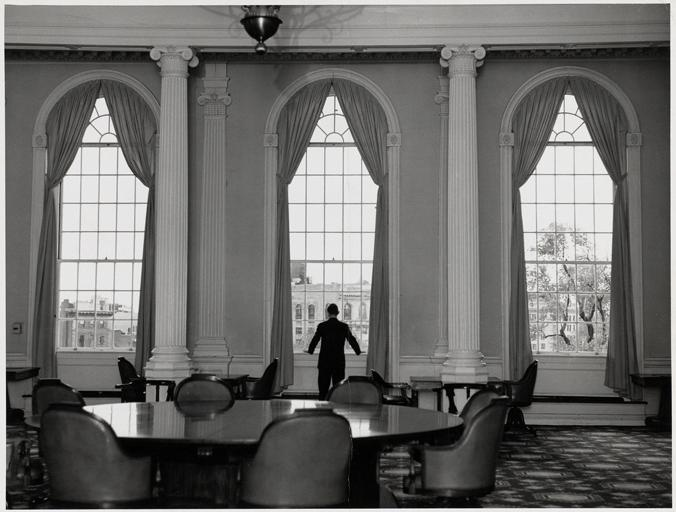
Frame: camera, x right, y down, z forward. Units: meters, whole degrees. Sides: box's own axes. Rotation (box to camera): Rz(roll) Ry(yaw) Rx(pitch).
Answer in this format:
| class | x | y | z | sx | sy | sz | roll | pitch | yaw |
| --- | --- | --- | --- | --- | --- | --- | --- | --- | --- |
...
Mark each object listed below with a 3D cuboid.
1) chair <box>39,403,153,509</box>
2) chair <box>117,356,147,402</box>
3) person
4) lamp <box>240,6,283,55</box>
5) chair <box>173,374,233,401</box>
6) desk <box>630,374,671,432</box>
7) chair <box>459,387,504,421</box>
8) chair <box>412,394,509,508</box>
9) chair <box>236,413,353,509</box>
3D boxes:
| class | x | y | z | sx | sy | sz | roll | pitch | yaw |
| --- | --- | --- | --- | --- | --- | --- | --- | --- | --- |
| chair | -1.975 | 1.511 | 7.348 | 0.821 | 0.852 | 0.763 | 0 | -6 | 14 |
| chair | -2.577 | 1.462 | 10.760 | 0.418 | 0.695 | 0.466 | -2 | -4 | 2 |
| person | 0.016 | 1.273 | 11.492 | 0.704 | 1.450 | 0.356 | 4 | 21 | 4 |
| lamp | -0.828 | -2.489 | 9.780 | 0.441 | 0.670 | 0.575 | -1 | -5 | -6 |
| chair | -1.362 | 1.315 | 8.981 | 0.624 | 0.262 | 0.267 | -1 | -5 | -11 |
| desk | 4.496 | 1.930 | 11.944 | 0.492 | 0.718 | 0.592 | -3 | -5 | 20 |
| chair | 1.442 | 1.366 | 8.343 | 0.290 | 0.299 | 0.281 | 0 | -5 | -4 |
| chair | 1.222 | 1.670 | 7.964 | 0.738 | 0.967 | 0.828 | 0 | -7 | 21 |
| chair | -0.254 | 1.594 | 7.013 | 0.697 | 0.708 | 0.751 | 3 | -5 | -10 |
